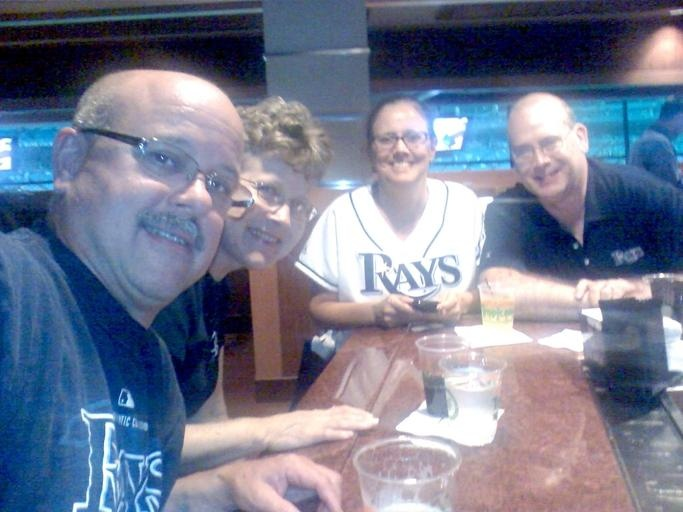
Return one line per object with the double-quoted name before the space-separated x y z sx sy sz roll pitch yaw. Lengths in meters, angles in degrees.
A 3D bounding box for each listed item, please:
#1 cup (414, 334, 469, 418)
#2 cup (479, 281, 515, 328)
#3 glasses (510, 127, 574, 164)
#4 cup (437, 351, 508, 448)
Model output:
"cup" 0.172 0.222 1.190 0.129 0.158 0.124 -1 -2 0
"cup" 0.379 0.123 1.584 0.099 0.110 0.103 0 -6 0
"glasses" 0.508 -0.279 1.633 0.153 0.074 0.074 -6 4 13
"cup" 0.218 0.249 1.130 0.151 0.168 0.125 -5 -10 12
